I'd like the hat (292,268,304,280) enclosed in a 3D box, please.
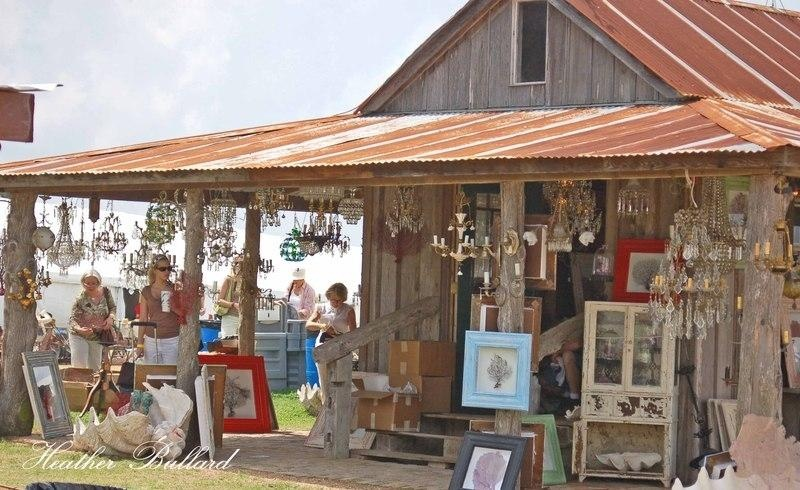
[{"bbox_3d":[-2.122,0.587,25.661,0.268,0.234,0.530,2,-4,-5],"label":"hat"}]

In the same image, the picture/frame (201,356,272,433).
[{"bbox_3d":[-2.640,2.547,20.794,1.407,1.320,0.415,4,-4,-33],"label":"picture/frame"}]

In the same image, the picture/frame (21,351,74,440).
[{"bbox_3d":[-5.755,2.441,19.869,0.722,1.408,0.559,0,-4,19],"label":"picture/frame"}]

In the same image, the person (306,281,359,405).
[{"bbox_3d":[-1.250,1.910,21.833,0.819,2.484,0.930,1,1,10],"label":"person"}]

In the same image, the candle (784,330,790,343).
[{"bbox_3d":[5.640,1.325,17.659,0.036,0.163,0.159,3,3,13],"label":"candle"}]

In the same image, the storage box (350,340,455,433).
[{"bbox_3d":[0.018,2.255,19.959,1.581,1.275,1.167,-2,0,-25],"label":"storage box"}]

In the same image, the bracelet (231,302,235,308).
[{"bbox_3d":[-3.276,1.158,23.915,0.088,0.093,0.093,0,-1,-3],"label":"bracelet"}]

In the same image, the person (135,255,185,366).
[{"bbox_3d":[-4.000,1.051,20.048,0.713,1.784,0.731,1,-4,7],"label":"person"}]

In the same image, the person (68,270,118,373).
[{"bbox_3d":[-5.533,1.377,21.946,0.783,1.834,1.063,3,-4,-21],"label":"person"}]

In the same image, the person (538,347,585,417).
[{"bbox_3d":[2.595,2.135,19.355,0.383,1.081,0.730,-3,4,-42],"label":"person"}]

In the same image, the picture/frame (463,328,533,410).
[{"bbox_3d":[1.423,1.766,17.422,1.054,1.304,0.091,1,-5,15],"label":"picture/frame"}]
